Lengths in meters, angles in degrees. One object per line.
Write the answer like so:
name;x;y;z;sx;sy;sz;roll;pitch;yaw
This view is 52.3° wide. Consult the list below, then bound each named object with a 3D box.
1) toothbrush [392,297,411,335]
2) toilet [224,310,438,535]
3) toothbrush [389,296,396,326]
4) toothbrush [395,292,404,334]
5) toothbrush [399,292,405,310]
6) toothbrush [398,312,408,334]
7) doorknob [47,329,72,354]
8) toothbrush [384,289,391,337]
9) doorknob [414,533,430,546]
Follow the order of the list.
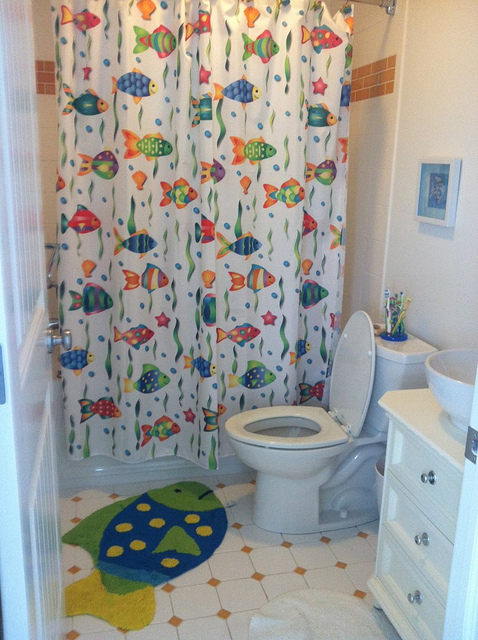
toothbrush;0.639;-0.020;1.929;0.021;0.163;0.013;17;26;-10
toilet;0.336;0.412;2.061;0.730;0.938;0.440;-1;11;-8
toothbrush;0.610;-0.035;1.938;0.023;0.120;0.027;-2;-17;25
toothbrush;0.631;-0.043;1.928;0.014;0.194;0.024;14;-24;-40
toothbrush;0.651;-0.074;1.952;0.014;0.078;0.014;-3;-23;16
toothbrush;0.652;0.008;1.948;0.014;0.066;0.160;5;12;24
doorknob;-0.399;0.042;1.071;0.046;0.061;0.152;-3;12;-22
toothbrush;0.581;-0.029;1.909;0.024;0.166;0.079;2;11;7
doorknob;0.451;0.538;1.198;0.036;0.037;0.033;7;-10;-43
